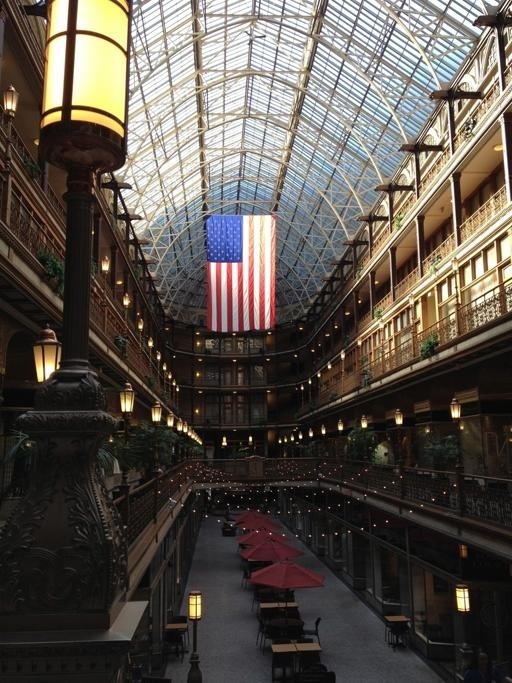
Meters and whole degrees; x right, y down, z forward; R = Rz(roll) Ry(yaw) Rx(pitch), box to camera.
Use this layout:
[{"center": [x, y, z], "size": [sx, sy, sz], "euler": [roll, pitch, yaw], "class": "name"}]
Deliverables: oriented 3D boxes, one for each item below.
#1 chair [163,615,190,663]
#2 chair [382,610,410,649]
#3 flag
[{"center": [-2.829, 10.342, 18.169], "size": [0.821, 1.140, 2.379], "euler": [1, -16, -7], "class": "chair"}, {"center": [4.826, 9.830, 17.795], "size": [0.958, 1.177, 0.979], "euler": [-1, -10, 1], "class": "chair"}, {"center": [-1.110, -5.049, 35.881], "size": [4.621, 8.251, 3.526], "euler": [0, -16, -3], "class": "flag"}]
